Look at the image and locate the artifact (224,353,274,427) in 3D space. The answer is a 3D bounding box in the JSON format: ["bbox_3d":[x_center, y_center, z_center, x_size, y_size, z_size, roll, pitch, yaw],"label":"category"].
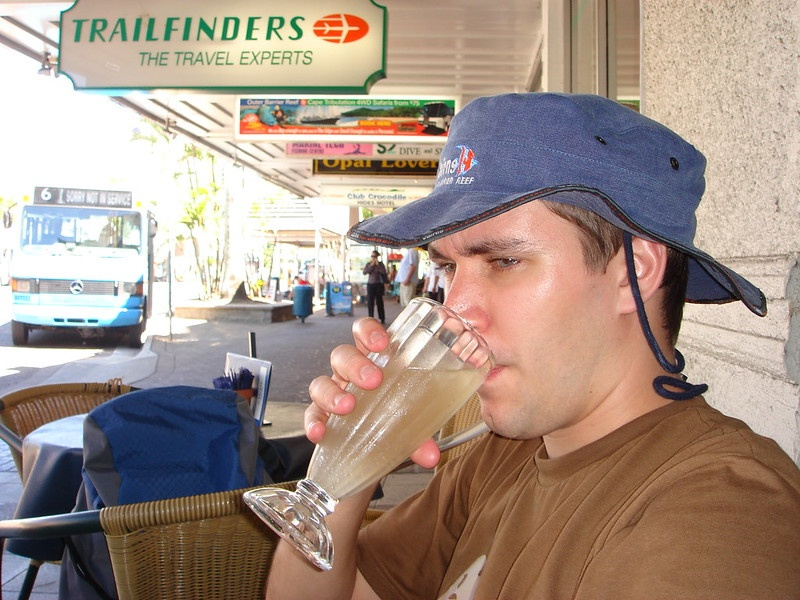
[{"bbox_3d":[-0.645,0.400,2.756,0.349,0.343,0.125,1,4,40],"label":"artifact"}]

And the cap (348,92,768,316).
[{"bbox_3d":[0.314,-0.240,1.263,0.630,0.278,0.482,10,4,-13],"label":"cap"}]
